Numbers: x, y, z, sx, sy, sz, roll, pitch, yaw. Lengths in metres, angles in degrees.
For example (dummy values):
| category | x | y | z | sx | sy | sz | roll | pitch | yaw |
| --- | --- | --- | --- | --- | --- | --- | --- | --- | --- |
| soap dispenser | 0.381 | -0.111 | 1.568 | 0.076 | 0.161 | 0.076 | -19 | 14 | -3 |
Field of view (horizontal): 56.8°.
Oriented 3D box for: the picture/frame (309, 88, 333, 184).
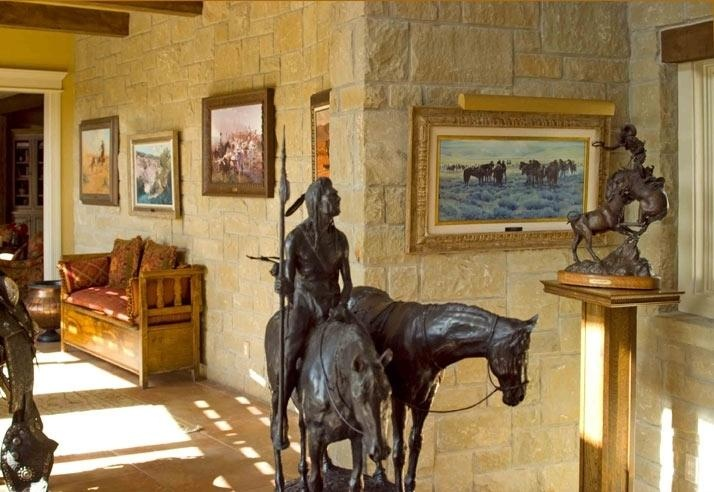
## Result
| category | x | y | z | sx | sy | sz | roll | pitch | yaw |
| --- | --- | --- | --- | --- | --- | --- | --- | --- | --- |
| picture/frame | -0.325 | -0.994 | 5.836 | 0.091 | 0.778 | 0.469 | -3 | 10 | -18 |

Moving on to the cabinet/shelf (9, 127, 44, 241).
| category | x | y | z | sx | sy | sz | roll | pitch | yaw |
| --- | --- | --- | --- | --- | --- | --- | --- | --- | --- |
| cabinet/shelf | -6.889 | -1.341 | 13.868 | 0.689 | 2.253 | 0.325 | -5 | 11 | -30 |

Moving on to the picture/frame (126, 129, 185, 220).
| category | x | y | z | sx | sy | sz | roll | pitch | yaw |
| --- | --- | --- | --- | --- | --- | --- | --- | --- | --- |
| picture/frame | -2.465 | -0.880 | 8.003 | 1.010 | 0.973 | 0.073 | 4 | 5 | 41 |
